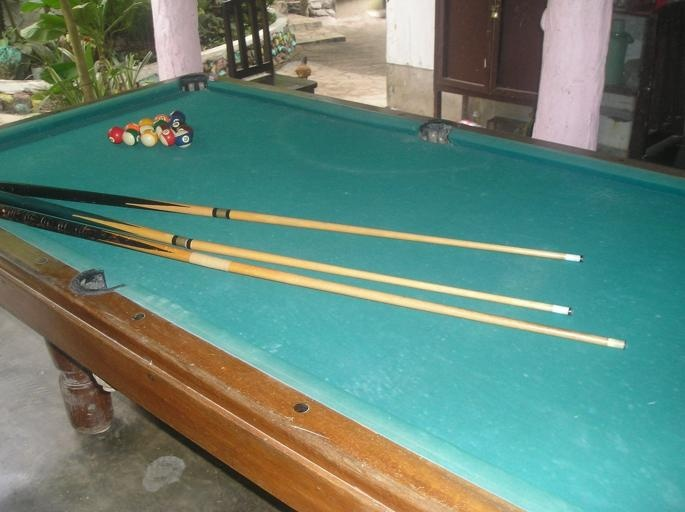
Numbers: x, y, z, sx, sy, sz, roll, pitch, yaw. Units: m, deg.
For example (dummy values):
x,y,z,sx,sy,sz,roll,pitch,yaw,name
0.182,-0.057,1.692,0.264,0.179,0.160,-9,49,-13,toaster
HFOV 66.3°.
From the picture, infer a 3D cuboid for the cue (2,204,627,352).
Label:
x,y,z,sx,sy,sz,roll,pitch,yaw,name
-0.065,0.072,1.623,2.517,0.057,0.161,9,36,19,cue
